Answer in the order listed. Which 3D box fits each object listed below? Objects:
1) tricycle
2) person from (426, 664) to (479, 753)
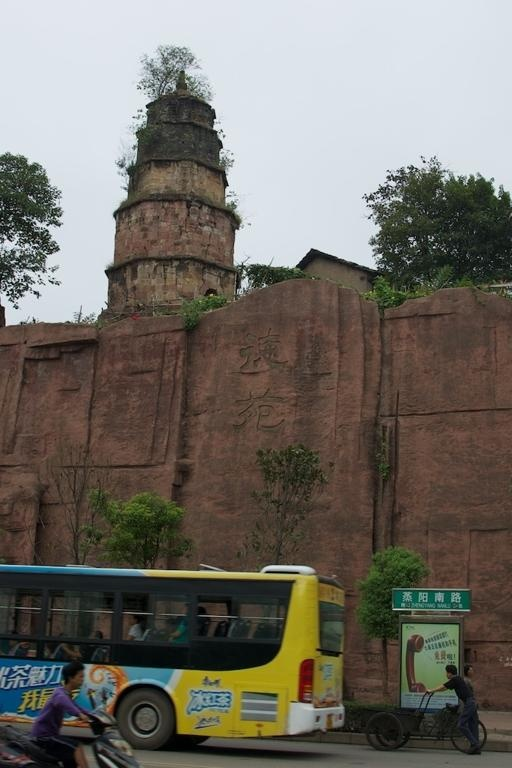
[{"bbox_3d":[2.463,4.977,16.076,1.645,0.700,0.892,-3,-11,8],"label":"tricycle"},{"bbox_3d":[2.874,4.689,15.834,0.679,1.252,1.206,-1,-18,10],"label":"person"}]
